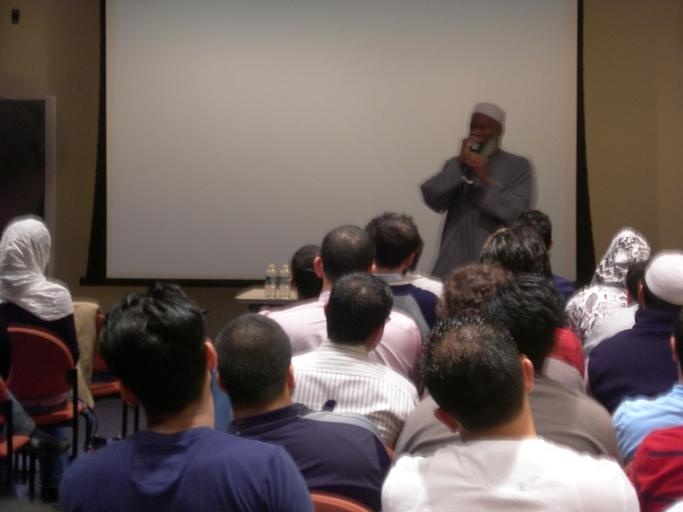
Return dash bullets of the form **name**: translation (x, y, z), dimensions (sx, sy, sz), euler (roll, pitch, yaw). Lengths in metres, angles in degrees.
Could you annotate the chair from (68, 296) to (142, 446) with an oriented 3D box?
- **chair**: translation (-1.511, 0.741, 3.952), dimensions (0.435, 0.628, 0.476), euler (-5, 9, -15)
